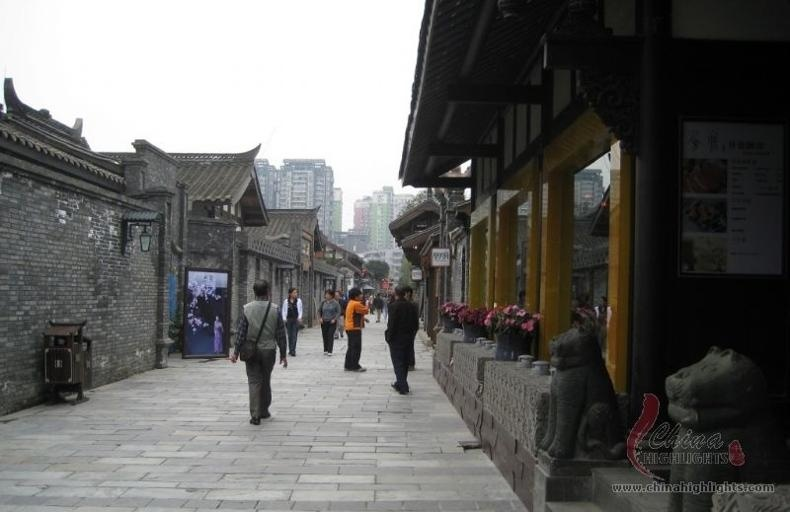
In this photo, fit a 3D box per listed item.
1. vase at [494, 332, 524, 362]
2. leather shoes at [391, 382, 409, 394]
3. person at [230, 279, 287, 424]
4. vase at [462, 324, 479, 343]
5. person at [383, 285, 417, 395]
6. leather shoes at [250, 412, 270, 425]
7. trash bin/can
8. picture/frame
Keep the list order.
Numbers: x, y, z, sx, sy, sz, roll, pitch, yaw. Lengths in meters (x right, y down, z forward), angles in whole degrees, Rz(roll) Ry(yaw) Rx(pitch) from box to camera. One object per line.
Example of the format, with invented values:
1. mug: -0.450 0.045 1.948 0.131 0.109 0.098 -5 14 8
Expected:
1. vase: 1.403 1.135 7.811 0.309 0.352 0.317 1 -9 -3
2. leather shoes: 0.104 2.453 11.713 0.118 0.160 0.360 4 0 -16
3. person: -2.008 1.375 9.284 0.769 2.037 0.811 -2 -4 -12
4. vase: 1.220 1.242 10.095 0.237 0.219 0.276 1 -7 -1
5. person: 0.106 1.564 11.869 0.535 1.958 0.775 -4 -4 23
6. leather shoes: -1.958 2.322 9.001 0.095 0.142 0.320 1 4 3
7. trash bin/can: -5.383 1.703 10.207 0.582 1.324 0.676 -2 -4 -7
8. picture/frame: -4.838 1.455 15.986 1.220 2.270 0.481 0 -4 -40
